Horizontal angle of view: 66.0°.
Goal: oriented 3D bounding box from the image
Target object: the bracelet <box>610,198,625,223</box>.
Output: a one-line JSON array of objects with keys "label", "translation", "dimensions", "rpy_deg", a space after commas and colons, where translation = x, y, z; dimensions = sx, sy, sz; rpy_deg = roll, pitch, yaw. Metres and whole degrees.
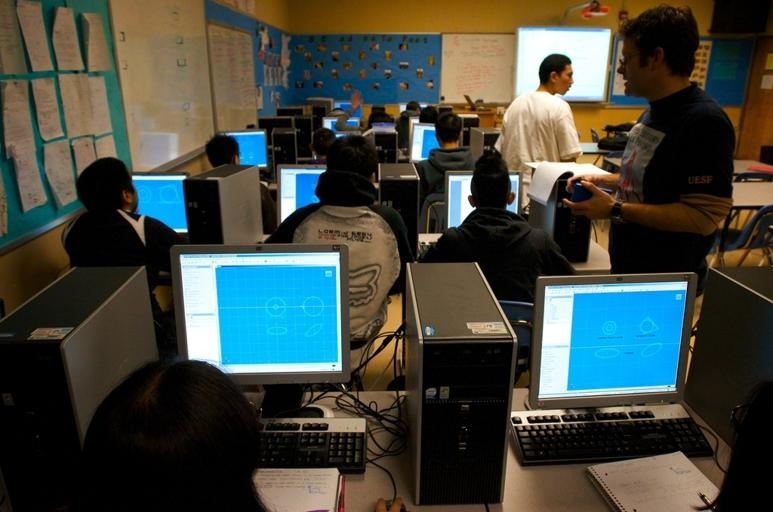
[{"label": "bracelet", "translation": [0.985, -0.183, 2.550], "dimensions": [0.053, 0.086, 0.086], "rpy_deg": [4, 20, 13]}]

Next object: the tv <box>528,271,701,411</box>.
[{"label": "tv", "translation": [0.797, 0.304, 2.097], "dimensions": [0.515, 0.418, 0.075], "rpy_deg": [-1, 10, -7]}]

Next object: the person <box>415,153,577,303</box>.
[{"label": "person", "translation": [0.533, -0.147, 2.876], "dimensions": [0.963, 0.767, 0.591], "rpy_deg": [0, 23, 6]}]

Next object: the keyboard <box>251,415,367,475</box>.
[{"label": "keyboard", "translation": [-0.266, 0.648, 2.053], "dimensions": [0.383, 0.055, 0.210], "rpy_deg": [0, 32, -6]}]
